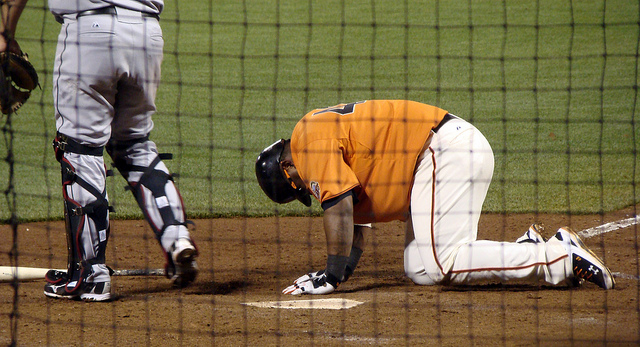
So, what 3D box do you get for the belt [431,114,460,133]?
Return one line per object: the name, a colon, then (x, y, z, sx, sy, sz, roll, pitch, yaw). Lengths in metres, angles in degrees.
belt: (1.565, -0.666, 13.177, 0.259, 0.249, 0.197, 23, 20, -7)
